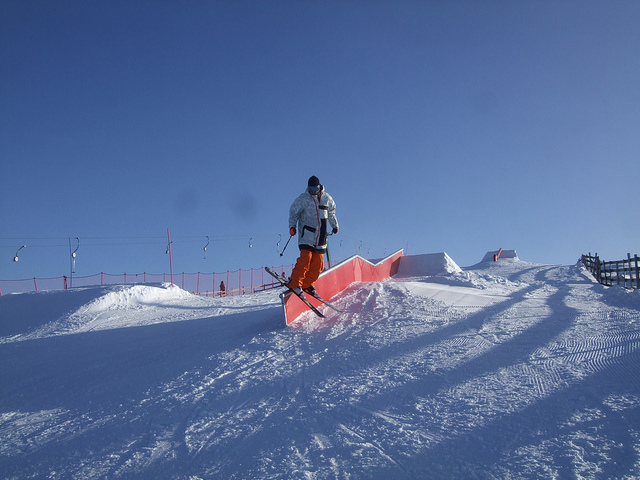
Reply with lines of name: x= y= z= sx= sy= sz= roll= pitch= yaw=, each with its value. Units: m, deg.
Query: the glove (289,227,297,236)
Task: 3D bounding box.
glove: x=-0.487 y=-0.164 z=7.957 sx=0.090 sy=0.149 sz=0.053 roll=0 pitch=5 yaw=-14

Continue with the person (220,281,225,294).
person: x=-5.535 y=2.568 z=24.880 sx=0.178 sy=0.658 sz=1.227 roll=-8 pitch=9 yaw=-17
